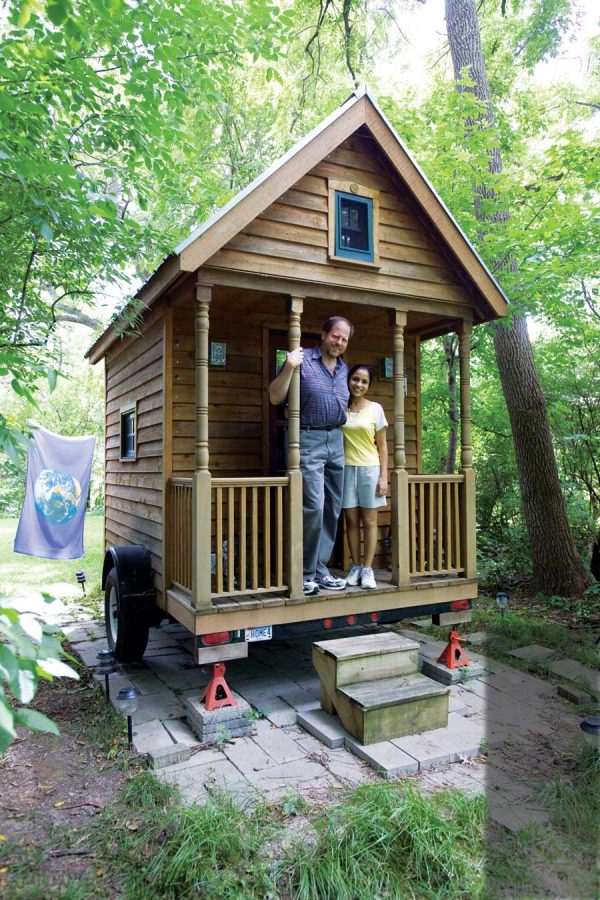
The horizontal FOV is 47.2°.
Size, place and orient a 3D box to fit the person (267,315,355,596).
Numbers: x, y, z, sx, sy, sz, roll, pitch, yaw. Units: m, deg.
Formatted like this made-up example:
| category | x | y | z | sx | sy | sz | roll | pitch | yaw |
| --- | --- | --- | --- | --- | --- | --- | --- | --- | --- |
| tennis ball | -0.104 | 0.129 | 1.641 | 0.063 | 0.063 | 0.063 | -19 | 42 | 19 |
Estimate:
| category | x | y | z | sx | sy | sz | roll | pitch | yaw |
| --- | --- | --- | --- | --- | --- | --- | --- | --- | --- |
| person | 0.193 | 0.029 | 5.101 | 0.387 | 1.975 | 0.367 | -1 | -1 | 1 |

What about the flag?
| category | x | y | z | sx | sy | sz | roll | pitch | yaw |
| --- | --- | --- | --- | --- | --- | --- | --- | --- | --- |
| flag | -3.344 | 0.630 | 9.381 | 1.057 | 1.771 | 0.646 | -1 | -1 | -26 |

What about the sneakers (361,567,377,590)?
| category | x | y | z | sx | sy | sz | roll | pitch | yaw |
| --- | --- | --- | --- | --- | --- | --- | --- | --- | --- |
| sneakers | 0.508 | 0.953 | 5.137 | 0.127 | 0.141 | 0.223 | -2 | -1 | 5 |

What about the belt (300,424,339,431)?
| category | x | y | z | sx | sy | sz | roll | pitch | yaw |
| --- | --- | --- | --- | --- | --- | --- | --- | --- | --- |
| belt | 0.133 | -0.166 | 5.062 | 0.270 | 0.053 | 0.082 | -1 | -1 | -28 |
